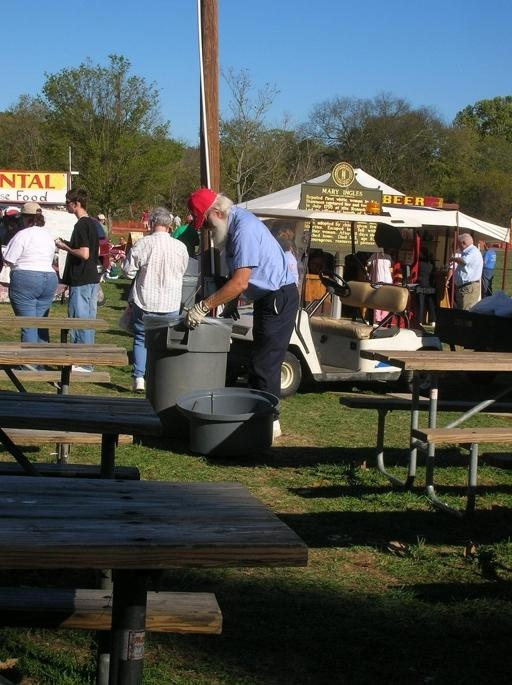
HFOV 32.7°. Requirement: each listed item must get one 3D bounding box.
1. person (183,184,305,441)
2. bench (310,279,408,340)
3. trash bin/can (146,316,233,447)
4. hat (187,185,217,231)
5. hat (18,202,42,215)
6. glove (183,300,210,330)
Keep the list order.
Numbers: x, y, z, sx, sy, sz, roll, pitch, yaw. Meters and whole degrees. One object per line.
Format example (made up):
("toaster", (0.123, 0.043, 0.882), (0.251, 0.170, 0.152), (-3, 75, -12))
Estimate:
("person", (-0.077, -0.311, 5.964), (0.857, 1.425, 0.516), (2, 7, -17))
("bench", (1.184, -0.203, 9.242), (0.699, 0.595, 1.007), (-2, 5, -29))
("trash bin/can", (-0.387, 0.248, 6.583), (0.866, 0.903, 0.825), (0, -3, 5))
("hat", (-0.362, -0.905, 5.860), (0.166, 0.250, 0.182), (25, 1, -22))
("hat", (-2.062, -1.225, 8.010), (0.197, 0.120, 0.287), (7, 9, -11))
("glove", (-0.407, -0.184, 5.981), (0.125, 0.211, 0.084), (54, 20, 21))
